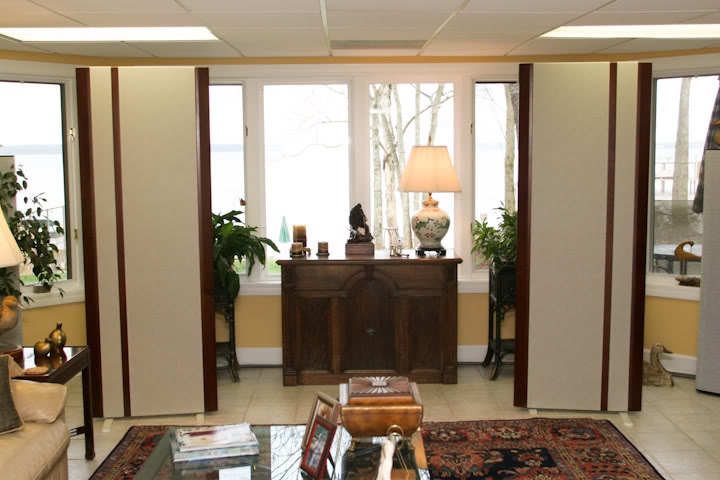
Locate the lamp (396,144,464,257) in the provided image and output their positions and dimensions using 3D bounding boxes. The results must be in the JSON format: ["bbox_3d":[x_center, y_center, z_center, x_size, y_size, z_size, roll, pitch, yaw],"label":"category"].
[{"bbox_3d":[0.661,-0.367,5.059,0.560,1.026,0.341,0,14,3],"label":"lamp"}]

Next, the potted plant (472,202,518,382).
[{"bbox_3d":[1.323,0.492,5.321,0.460,1.620,0.744,3,15,13],"label":"potted plant"}]

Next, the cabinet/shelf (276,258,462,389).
[{"bbox_3d":[0.105,0.785,5.273,1.704,1.233,0.588,0,7,1],"label":"cabinet/shelf"}]

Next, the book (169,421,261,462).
[{"bbox_3d":[-0.851,1.187,3.143,0.490,0.091,0.239,-3,13,-10],"label":"book"}]

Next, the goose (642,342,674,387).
[{"bbox_3d":[2.841,1.183,5.086,0.264,0.385,0.294,-13,18,-40],"label":"goose"}]

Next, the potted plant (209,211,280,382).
[{"bbox_3d":[-1.251,0.521,5.331,0.513,1.597,0.728,10,18,36],"label":"potted plant"}]
